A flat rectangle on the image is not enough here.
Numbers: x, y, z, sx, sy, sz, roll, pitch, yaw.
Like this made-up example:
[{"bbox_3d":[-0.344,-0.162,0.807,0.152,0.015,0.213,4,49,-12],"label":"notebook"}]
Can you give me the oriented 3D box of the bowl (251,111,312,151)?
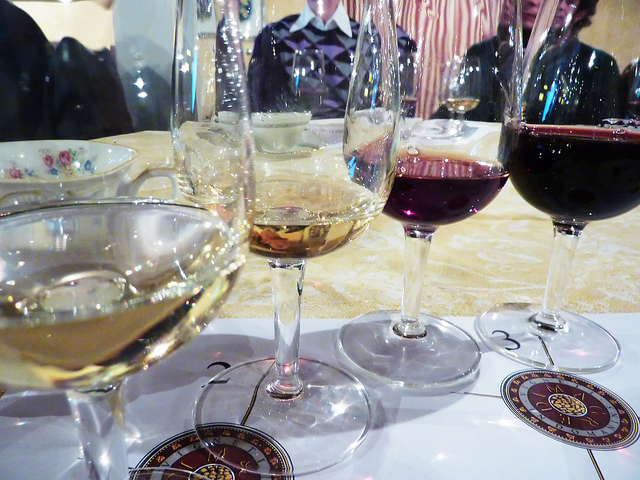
[{"bbox_3d":[-0.037,-0.096,0.480,0.056,0.035,0.055,1,3,0],"label":"bowl"}]
